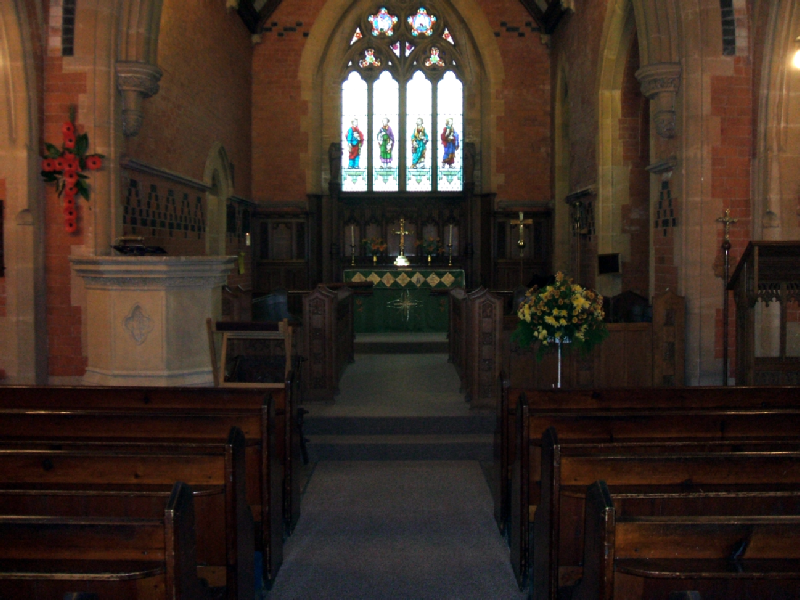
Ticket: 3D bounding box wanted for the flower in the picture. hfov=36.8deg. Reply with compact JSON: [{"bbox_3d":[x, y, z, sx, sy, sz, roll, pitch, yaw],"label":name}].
[{"bbox_3d":[1.517,0.147,11.226,0.732,0.616,0.743,1,-8,-3],"label":"flower"}]
